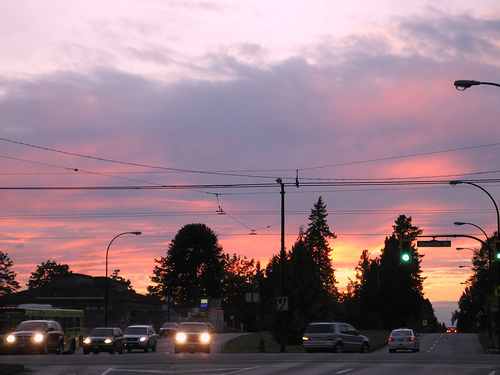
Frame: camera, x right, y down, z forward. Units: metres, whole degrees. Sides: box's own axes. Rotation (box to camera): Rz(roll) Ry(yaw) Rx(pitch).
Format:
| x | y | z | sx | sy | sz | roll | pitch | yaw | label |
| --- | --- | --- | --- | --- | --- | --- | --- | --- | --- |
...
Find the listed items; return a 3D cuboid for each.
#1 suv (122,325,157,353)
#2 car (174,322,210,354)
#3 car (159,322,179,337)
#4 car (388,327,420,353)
| x | y | z | sx | sy | sz | roll | pitch | yaw | label |
| --- | --- | --- | --- | --- | --- | --- | --- | --- | --- |
| -10.036 | 13.721 | 81.891 | 2.881 | 2.581 | 2.423 | 2 | -15 | -7 | suv |
| -4.712 | 12.344 | 73.951 | 2.733 | 2.616 | 1.329 | -2 | -15 | 7 | car |
| -10.022 | 17.360 | 110.021 | 2.116 | 1.493 | 3.547 | 0 | -12 | -1 | car |
| 13.936 | 14.028 | 82.963 | 2.326 | 2.417 | 3.726 | -6 | -16 | 22 | car |
